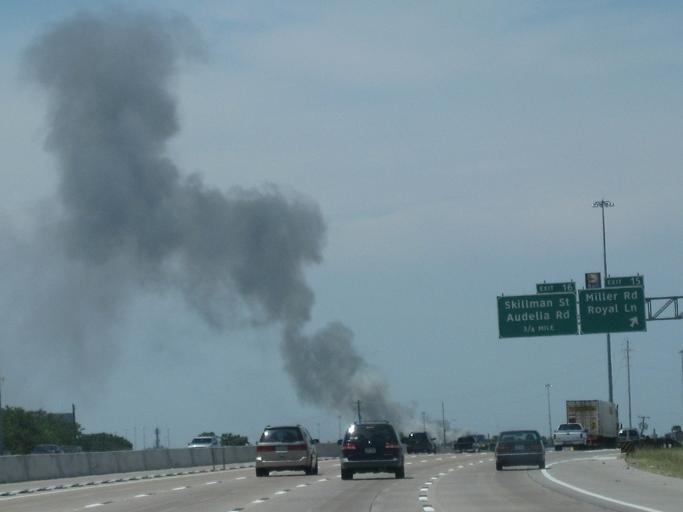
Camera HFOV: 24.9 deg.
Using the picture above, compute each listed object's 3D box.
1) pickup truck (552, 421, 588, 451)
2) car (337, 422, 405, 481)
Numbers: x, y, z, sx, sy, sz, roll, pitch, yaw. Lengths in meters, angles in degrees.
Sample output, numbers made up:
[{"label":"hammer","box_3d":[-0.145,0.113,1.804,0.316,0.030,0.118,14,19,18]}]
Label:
[{"label":"pickup truck","box_3d":[16.487,12.612,111.252,2.374,1.874,1.156,-14,-13,37]},{"label":"car","box_3d":[1.565,9.085,74.252,2.893,2.816,1.058,-4,-8,-9]}]
